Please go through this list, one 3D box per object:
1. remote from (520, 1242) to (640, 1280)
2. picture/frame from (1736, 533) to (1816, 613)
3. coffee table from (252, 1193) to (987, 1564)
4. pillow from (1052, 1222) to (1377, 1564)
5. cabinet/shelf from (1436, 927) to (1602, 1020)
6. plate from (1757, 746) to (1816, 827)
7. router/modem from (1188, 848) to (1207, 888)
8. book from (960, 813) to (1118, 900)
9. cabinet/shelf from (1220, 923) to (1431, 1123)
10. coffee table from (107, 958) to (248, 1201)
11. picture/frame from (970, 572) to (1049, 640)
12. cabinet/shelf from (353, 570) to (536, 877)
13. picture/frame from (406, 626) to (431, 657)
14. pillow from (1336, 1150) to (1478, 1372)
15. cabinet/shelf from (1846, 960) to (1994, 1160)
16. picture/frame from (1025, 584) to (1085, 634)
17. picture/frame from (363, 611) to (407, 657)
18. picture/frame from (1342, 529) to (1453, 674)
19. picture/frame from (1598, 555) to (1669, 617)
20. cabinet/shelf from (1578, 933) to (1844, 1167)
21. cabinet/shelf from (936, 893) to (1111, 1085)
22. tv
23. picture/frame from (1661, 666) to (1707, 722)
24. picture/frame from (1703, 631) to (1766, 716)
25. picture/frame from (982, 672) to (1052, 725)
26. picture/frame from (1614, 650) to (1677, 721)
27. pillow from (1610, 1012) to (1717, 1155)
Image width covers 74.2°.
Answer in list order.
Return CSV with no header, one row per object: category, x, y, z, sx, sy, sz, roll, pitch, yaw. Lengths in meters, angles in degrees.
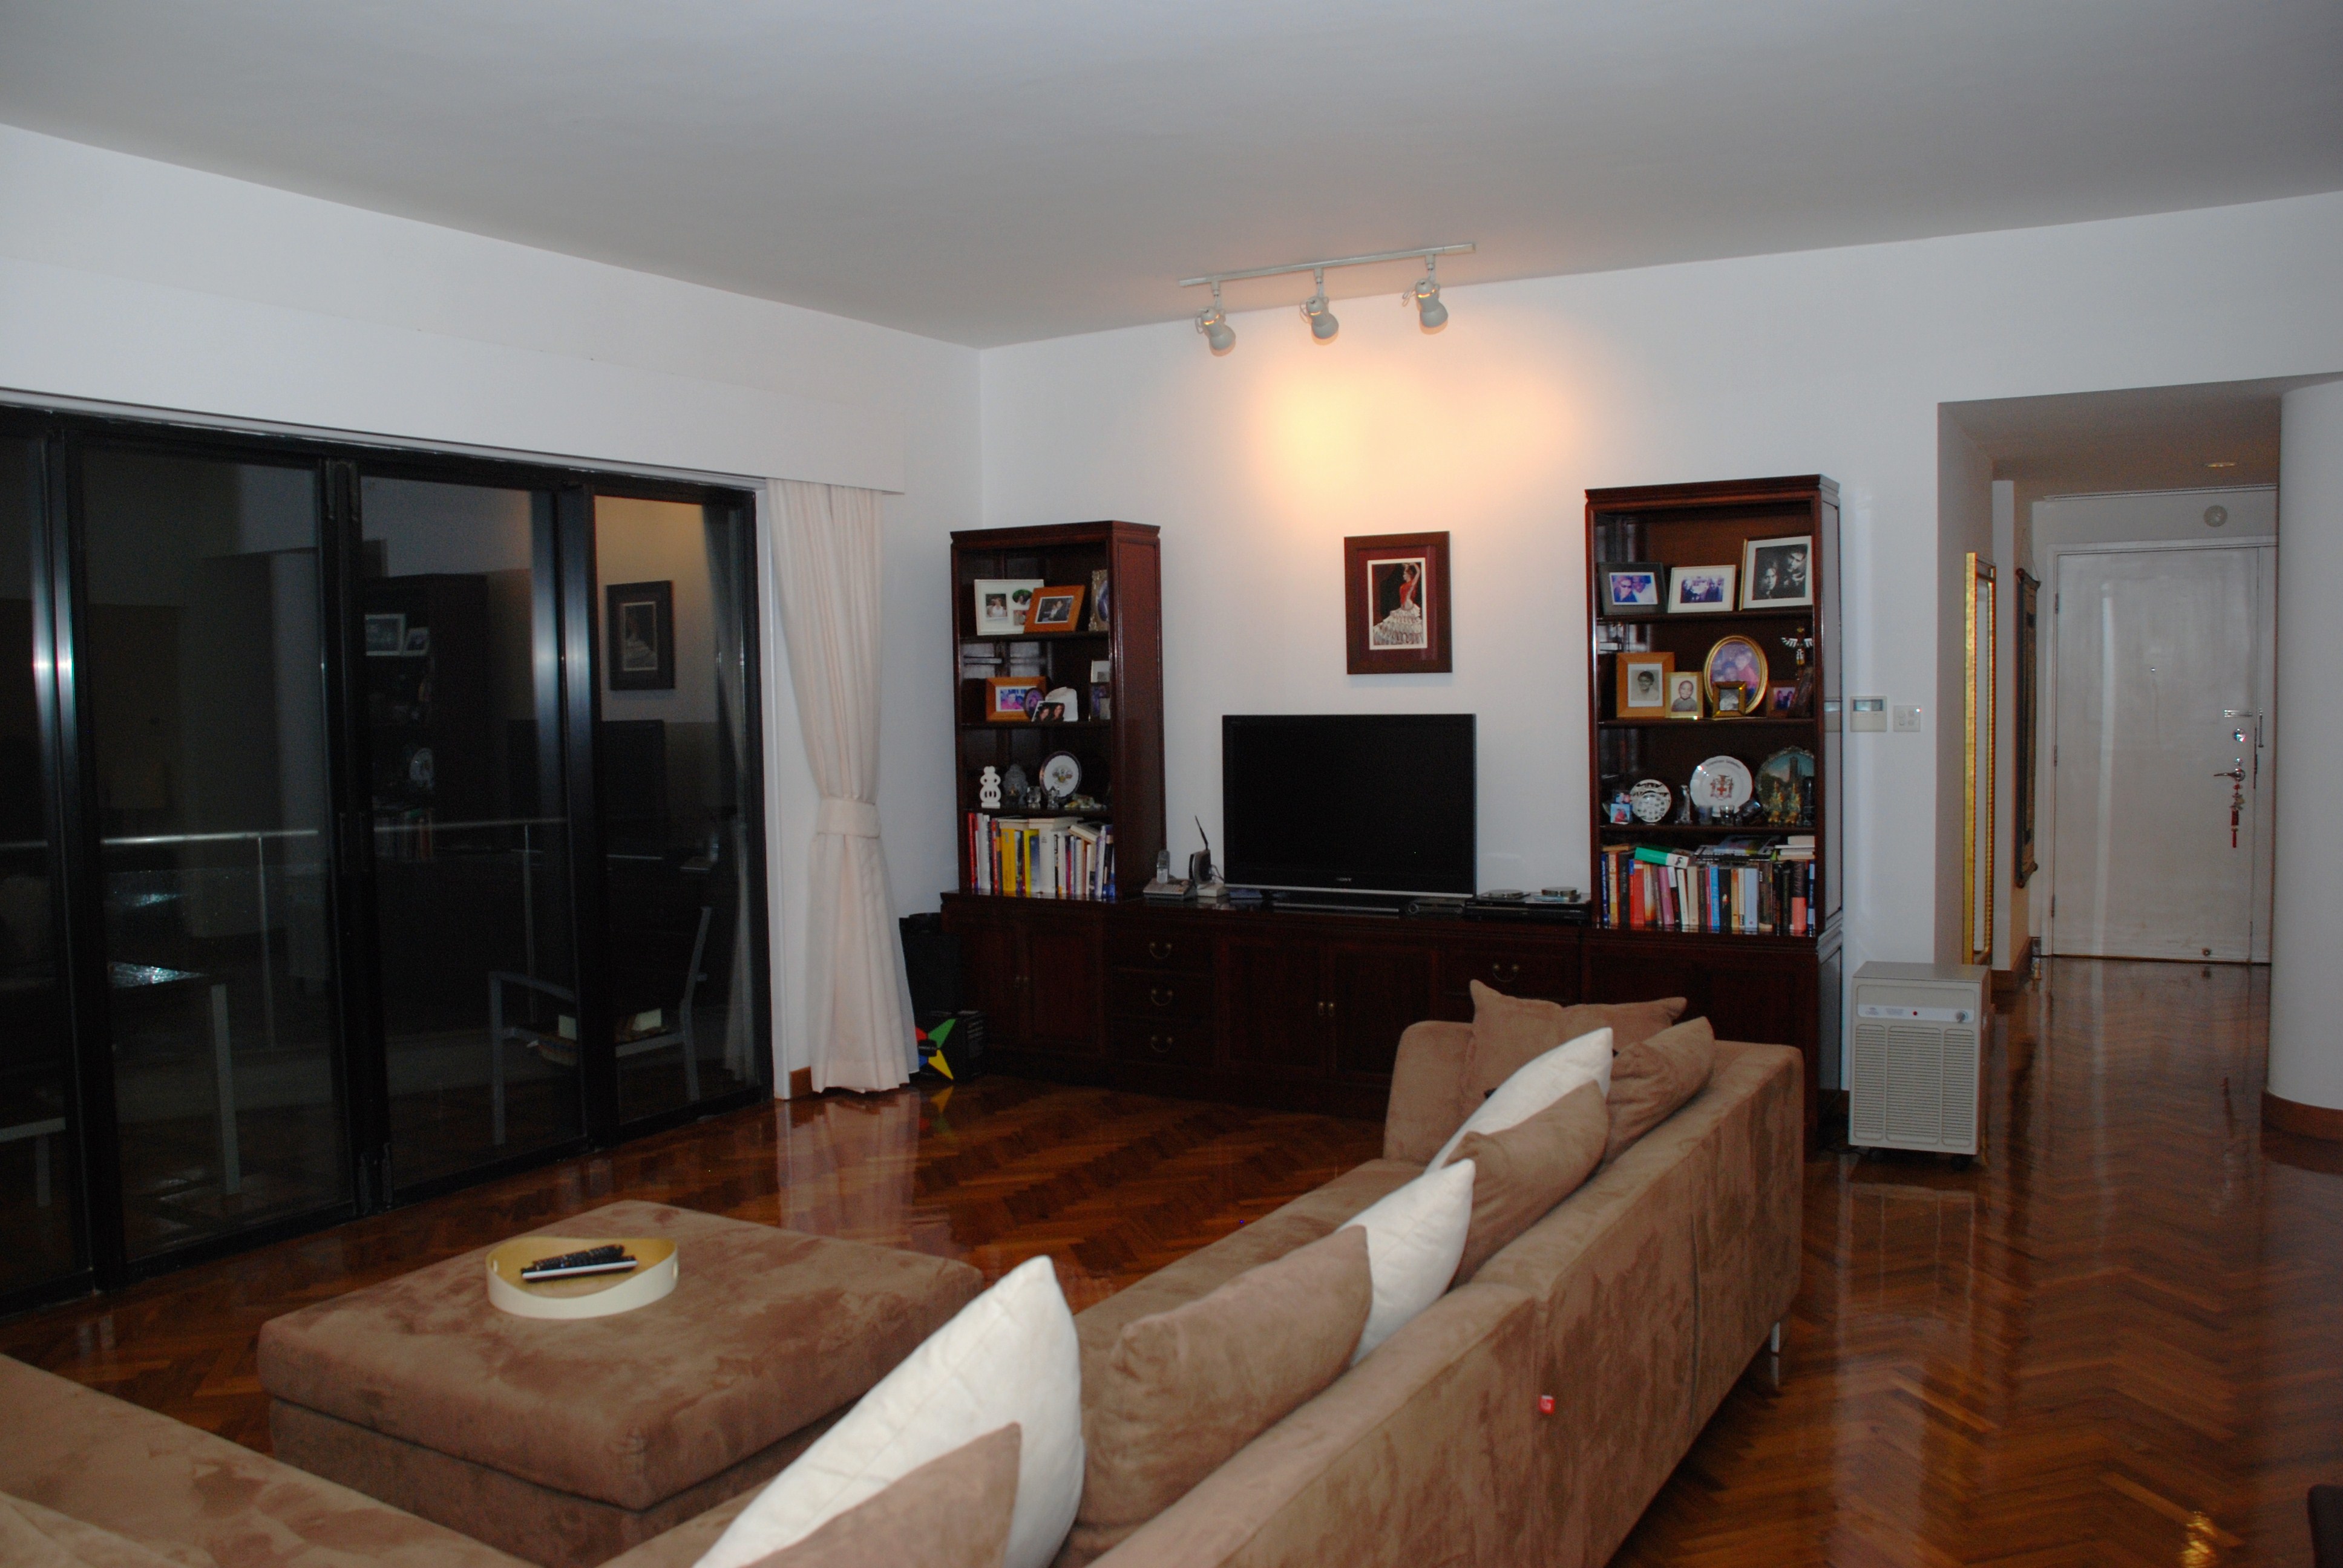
remote,-1.591,1.277,4.130,0.164,0.039,0.130,-3,-1,-12
picture/frame,2.509,-0.869,6.401,0.324,0.382,0.026,4,-1,29
coffee table,-1.368,1.442,3.716,0.854,0.232,0.951,1,2,37
pillow,0.104,1.154,2.959,0.714,0.426,0.180,-9,12,-43
cabinet/shelf,1.433,0.753,6.276,0.391,0.381,0.158,-1,-3,23
plate,2.554,0.017,6.451,0.210,0.301,0.313,2,9,19
router/modem,0.128,0.407,7.553,0.108,0.133,0.189,-1,9,-1
book,-0.642,0.350,7.588,0.783,0.379,0.222,4,10,28
cabinet/shelf,0.740,1.011,7.123,1.050,0.896,0.399,1,12,14
coffee table,-3.567,1.091,5.558,0.424,0.784,0.077,-3,-6,-35
picture/frame,-0.834,-0.876,7.692,0.319,0.387,0.039,-2,-5,-5
cabinet/shelf,-3.151,-0.257,6.445,0.416,1.631,0.808,-2,-9,-28
picture/frame,-2.979,-0.562,6.057,0.065,0.118,0.119,3,0,21
pillow,0.585,1.116,3.404,0.252,0.388,0.471,21,-28,-14
cabinet/shelf,2.969,1.143,6.458,0.647,0.955,0.673,-1,-3,23
picture/frame,-0.588,-0.853,7.593,0.226,0.228,0.023,6,-13,13
picture/frame,-3.069,-0.583,5.970,0.091,0.169,0.175,4,2,31
picture/frame,1.072,-0.864,7.248,0.636,0.794,0.080,3,4,28
picture/frame,1.943,-0.832,6.560,0.276,0.247,0.028,1,2,9
cabinet/shelf,1.794,0.853,5.111,0.888,0.863,0.317,-1,-1,24
cabinet/shelf,-0.698,0.980,7.689,0.920,0.910,0.368,2,9,19
tv,0.813,0.108,7.237,1.218,0.878,0.122,0,4,22
picture/frame,2.167,-0.376,6.572,0.220,0.310,0.023,3,-8,24
picture/frame,2.380,-0.456,6.529,0.348,0.434,0.032,-1,-7,29
picture/frame,-0.780,-0.409,7.743,0.381,0.337,0.210,-1,-5,7
picture/frame,2.030,-0.416,6.615,0.293,0.416,0.033,0,-4,22
pillow,1.275,0.797,4.113,0.301,0.094,0.289,-21,-5,-43
